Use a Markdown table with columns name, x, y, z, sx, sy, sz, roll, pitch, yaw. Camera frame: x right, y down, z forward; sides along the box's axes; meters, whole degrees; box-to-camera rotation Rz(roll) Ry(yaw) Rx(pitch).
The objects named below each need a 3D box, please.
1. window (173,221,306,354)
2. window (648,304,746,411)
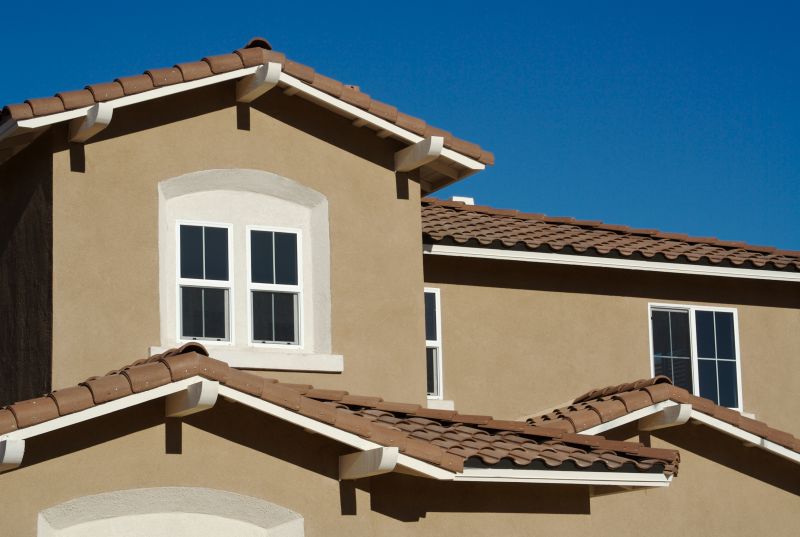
| name | x | y | z | sx | sy | sz | roll | pitch | yaw |
| --- | --- | --- | --- | --- | --- | --- | --- | --- | --- |
| window | -3.044 | 0.383 | 34.619 | 2.444 | 2.206 | 0.255 | 3 | -11 | -20 |
| window | 5.995 | 1.836 | 38.715 | 2.184 | 2.191 | 0.141 | 5 | -18 | -17 |
